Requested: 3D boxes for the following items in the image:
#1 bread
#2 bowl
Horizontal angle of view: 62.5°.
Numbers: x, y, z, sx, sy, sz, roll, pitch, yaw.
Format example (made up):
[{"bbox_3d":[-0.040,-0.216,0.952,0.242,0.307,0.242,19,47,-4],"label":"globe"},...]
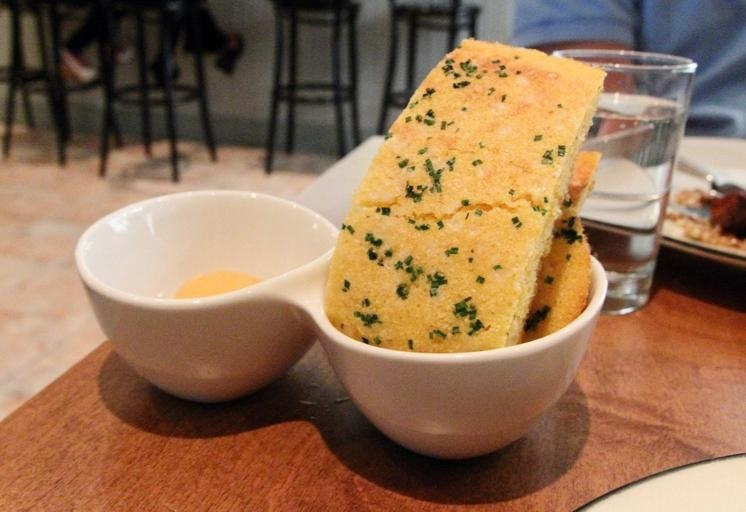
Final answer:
[{"bbox_3d":[0.086,-0.061,0.508,0.164,0.270,0.083,22,-1,15],"label":"bread"},{"bbox_3d":[-0.035,0.070,0.548,0.428,0.116,0.245,6,21,17],"label":"bowl"}]
